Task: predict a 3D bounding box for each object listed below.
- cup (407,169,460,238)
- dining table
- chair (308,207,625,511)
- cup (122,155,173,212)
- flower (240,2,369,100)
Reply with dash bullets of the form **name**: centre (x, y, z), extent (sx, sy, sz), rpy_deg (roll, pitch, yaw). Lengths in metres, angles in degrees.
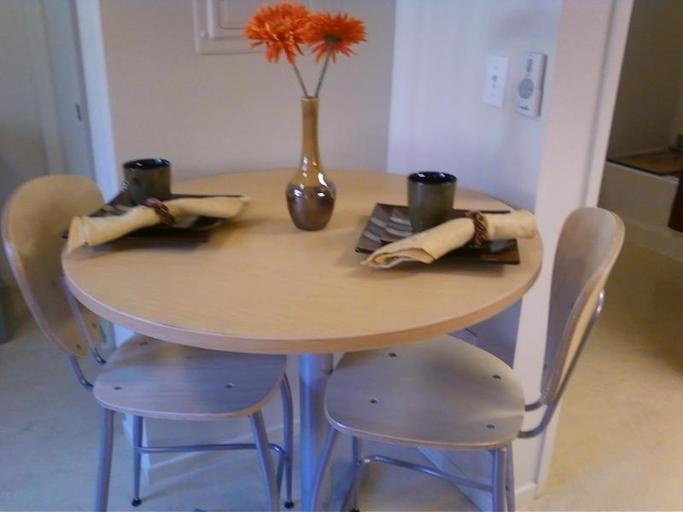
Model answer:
- **cup**: centre (0.209, -0.123, 1.361), extent (0.110, 0.135, 0.113), rpy_deg (0, 23, 0)
- **dining table**: centre (-0.121, 0.027, 1.476), extent (0.903, 0.707, 0.934), rpy_deg (-2, 30, -6)
- **chair**: centre (0.286, 0.272, 1.438), extent (0.543, 0.874, 0.462), rpy_deg (10, 36, 11)
- **cup**: centre (-0.487, -0.176, 1.414), extent (0.095, 0.108, 0.106), rpy_deg (2, 7, 3)
- **flower**: centre (-0.115, -0.560, 1.568), extent (0.343, 0.308, 0.238), rpy_deg (-9, 26, -15)
